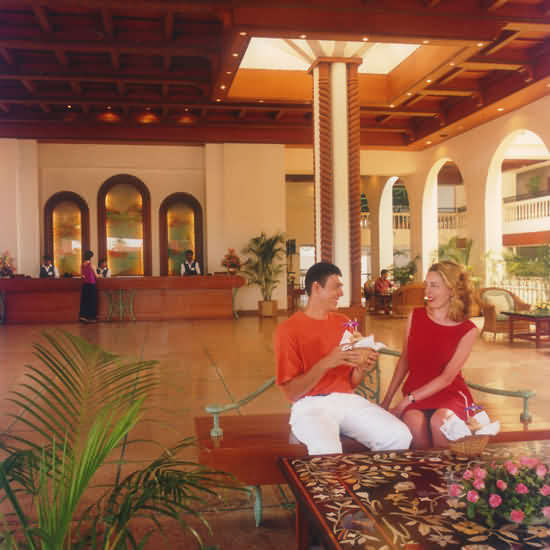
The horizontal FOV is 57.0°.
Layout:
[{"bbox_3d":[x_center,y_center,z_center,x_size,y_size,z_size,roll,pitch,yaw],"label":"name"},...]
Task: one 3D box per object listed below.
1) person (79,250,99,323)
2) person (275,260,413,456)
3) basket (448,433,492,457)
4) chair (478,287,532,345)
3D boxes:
[{"bbox_3d":[-3.956,0.262,10.751,0.399,0.992,0.342,-2,1,-19],"label":"person"},{"bbox_3d":[0.311,0.380,2.425,0.584,0.878,0.540,-2,1,-27],"label":"person"},{"bbox_3d":[0.693,0.591,1.804,0.101,0.038,0.095,-4,-6,3],"label":"basket"},{"bbox_3d":[4.072,0.645,8.843,0.842,0.876,0.894,0,-3,-2],"label":"chair"}]
